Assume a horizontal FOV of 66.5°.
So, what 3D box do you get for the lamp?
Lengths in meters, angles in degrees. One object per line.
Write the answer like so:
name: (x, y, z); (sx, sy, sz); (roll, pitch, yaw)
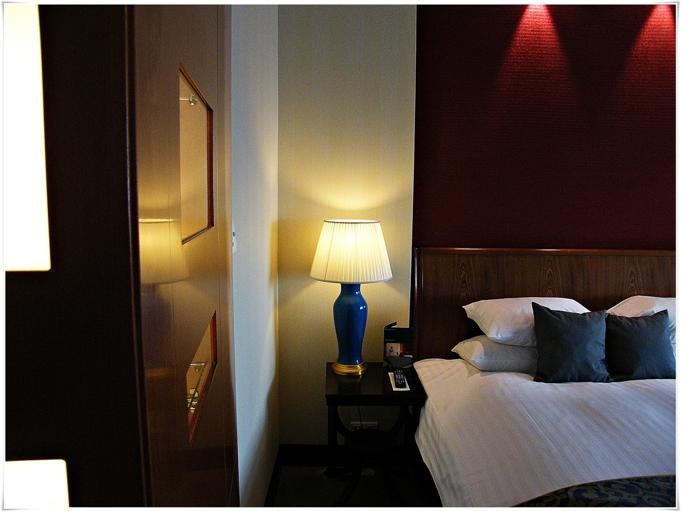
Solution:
lamp: (0.060, 0.206, 2.536); (0.379, 0.778, 0.266); (-6, 11, -1)
